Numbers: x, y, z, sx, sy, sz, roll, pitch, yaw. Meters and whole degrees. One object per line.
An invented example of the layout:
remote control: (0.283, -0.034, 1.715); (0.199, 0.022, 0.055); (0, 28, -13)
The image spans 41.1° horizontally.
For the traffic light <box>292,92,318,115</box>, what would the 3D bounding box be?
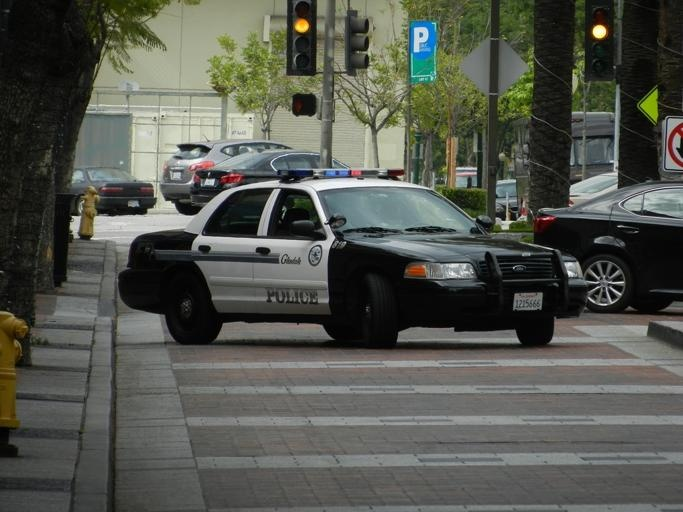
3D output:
traffic light: (-0.709, -2.852, 17.272); (0.422, 0.403, 0.540); (0, 4, 1)

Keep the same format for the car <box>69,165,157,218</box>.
car: (-7.974, -2.294, 32.654); (2.412, 1.366, 5.145); (-2, 5, -33)

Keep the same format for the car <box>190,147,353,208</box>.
car: (-2.336, -2.140, 24.589); (4.417, 1.230, 1.886); (-3, 3, -31)

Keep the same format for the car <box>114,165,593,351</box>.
car: (-0.055, 0.104, 10.922); (4.640, 1.383, 2.389); (-4, -6, 38)
